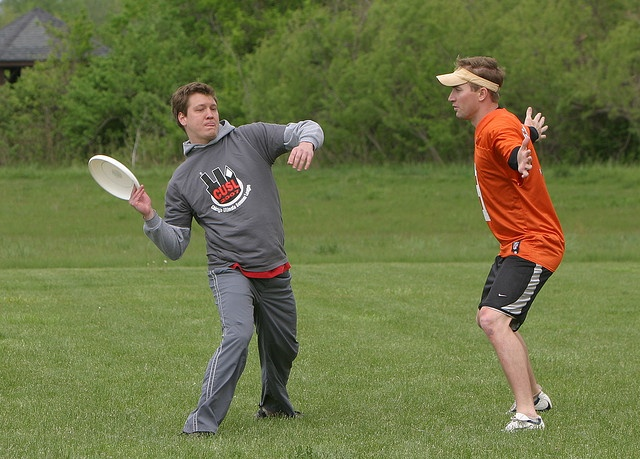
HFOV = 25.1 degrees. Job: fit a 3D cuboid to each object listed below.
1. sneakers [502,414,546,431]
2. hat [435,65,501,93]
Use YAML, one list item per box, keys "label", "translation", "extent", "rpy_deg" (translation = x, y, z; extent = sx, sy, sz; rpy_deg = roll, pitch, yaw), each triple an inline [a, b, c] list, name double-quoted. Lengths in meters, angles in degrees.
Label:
- label: "sneakers"
  translation: [2.928, 2.860, 21.072]
  extent: [0.698, 0.260, 0.221]
  rpy_deg: [0, 0, -5]
- label: "hat"
  translation: [2.197, -2.239, 21.416]
  extent: [0.754, 0.202, 0.408]
  rpy_deg: [15, -1, 2]
